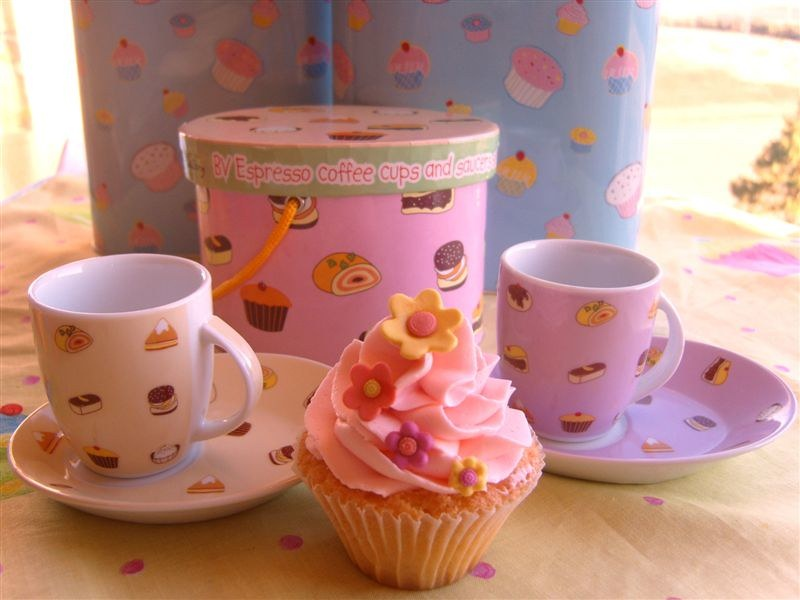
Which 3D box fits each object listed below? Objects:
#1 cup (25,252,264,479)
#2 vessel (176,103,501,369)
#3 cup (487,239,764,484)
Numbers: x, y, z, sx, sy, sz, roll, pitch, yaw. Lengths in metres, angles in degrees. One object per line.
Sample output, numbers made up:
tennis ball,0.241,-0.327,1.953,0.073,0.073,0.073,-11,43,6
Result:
cup,-0.226,0.061,0.600,0.190,0.179,0.114,-3,25,-12
vessel,-0.075,-0.105,0.774,0.304,0.236,0.303,17,27,38
cup,0.193,0.052,0.699,0.246,0.228,0.165,-1,22,-4
